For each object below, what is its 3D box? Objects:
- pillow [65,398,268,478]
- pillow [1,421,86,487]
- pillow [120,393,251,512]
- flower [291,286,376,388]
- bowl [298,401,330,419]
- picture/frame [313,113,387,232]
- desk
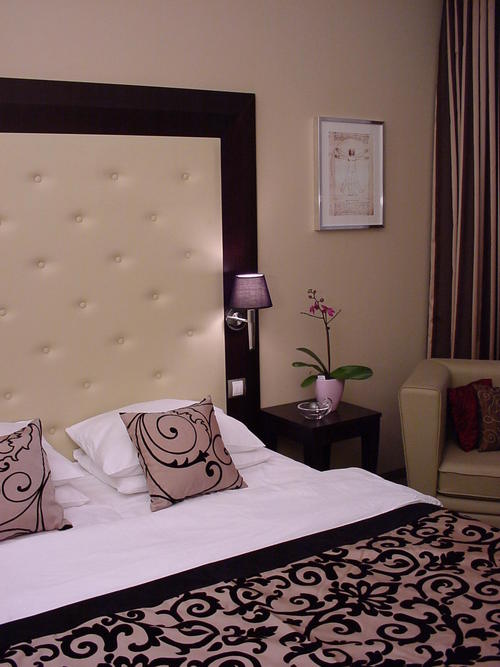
[{"bbox_3d":[-0.500,0.372,2.115,0.408,0.123,0.381,-5,16,-28],"label":"pillow"},{"bbox_3d":[-0.727,0.403,1.959,0.078,0.254,0.260,-35,-4,8],"label":"pillow"},{"bbox_3d":[-0.238,0.416,1.891,0.345,0.324,0.103,-11,-22,-42],"label":"pillow"},{"bbox_3d":[0.406,0.001,2.930,0.522,0.565,0.466,-5,7,26],"label":"flower"},{"bbox_3d":[0.310,0.365,2.640,0.102,0.054,0.083,0,0,-1],"label":"bowl"},{"bbox_3d":[0.517,-0.877,2.939,0.680,0.762,0.058,-5,7,-38],"label":"picture/frame"},{"bbox_3d":[0.472,0.543,2.727,0.375,0.267,0.373,-4,-14,45],"label":"desk"}]
